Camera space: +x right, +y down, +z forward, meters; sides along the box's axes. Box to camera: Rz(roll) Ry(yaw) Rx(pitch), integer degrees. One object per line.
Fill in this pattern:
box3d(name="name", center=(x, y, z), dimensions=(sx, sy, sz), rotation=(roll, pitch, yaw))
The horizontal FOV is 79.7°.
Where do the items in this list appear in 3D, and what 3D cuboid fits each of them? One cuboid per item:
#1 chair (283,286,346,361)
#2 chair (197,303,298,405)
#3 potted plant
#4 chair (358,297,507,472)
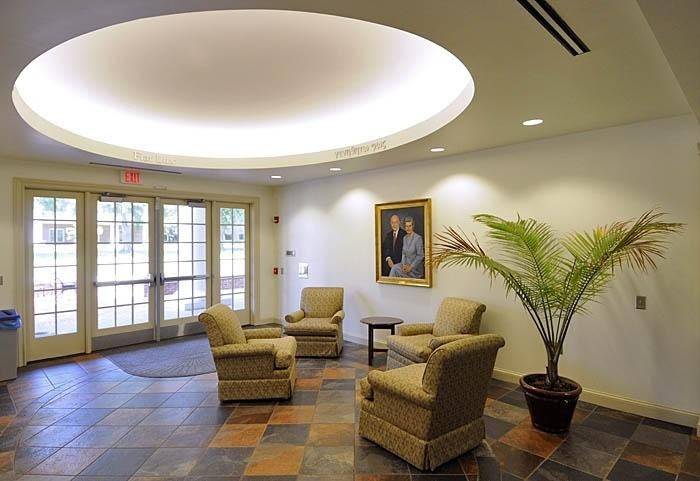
box3d(name="chair", center=(-0.590, 1.387, 7.333), dimensions=(0.903, 1.129, 1.048), rotation=(-1, -3, 4))
box3d(name="chair", center=(-1.350, 1.447, 5.818), dimensions=(1.300, 1.299, 1.055), rotation=(0, 1, -6))
box3d(name="potted plant", center=(2.522, 0.982, 5.173), dimensions=(2.475, 2.570, 2.549), rotation=(-1, 0, -26))
box3d(name="chair", center=(0.992, 1.494, 5.070), dimensions=(1.695, 1.700, 1.443), rotation=(3, -3, -25))
